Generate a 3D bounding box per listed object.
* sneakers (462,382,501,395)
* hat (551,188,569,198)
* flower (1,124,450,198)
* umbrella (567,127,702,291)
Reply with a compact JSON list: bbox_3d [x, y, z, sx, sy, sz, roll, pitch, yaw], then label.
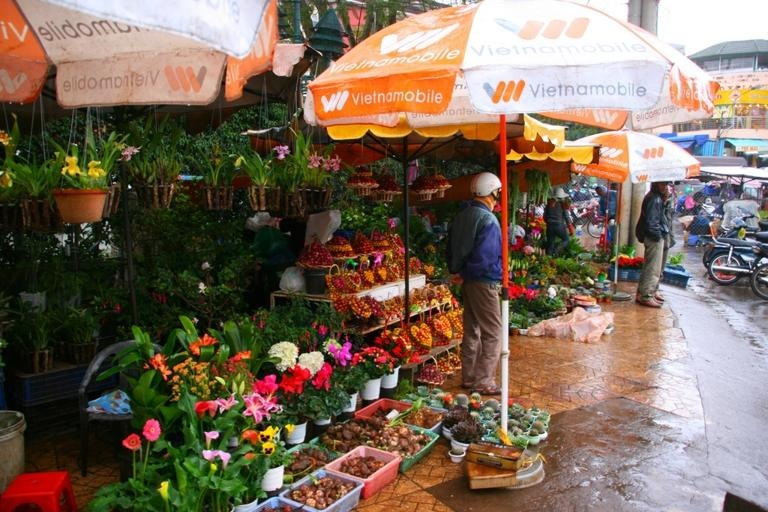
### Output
[{"bbox_3d":[1.066,1.490,6.614,0.373,0.154,0.146,-2,5,9],"label":"sneakers"},{"bbox_3d":[3.868,-1.335,13.024,0.312,0.127,0.305,-14,24,-11],"label":"hat"},{"bbox_3d":[-1.579,-0.961,6.020,3.717,0.887,0.861,-7,19,-28],"label":"flower"},{"bbox_3d":[4.468,-1.407,10.722,1.430,1.542,1.510,-1,24,1],"label":"umbrella"}]
